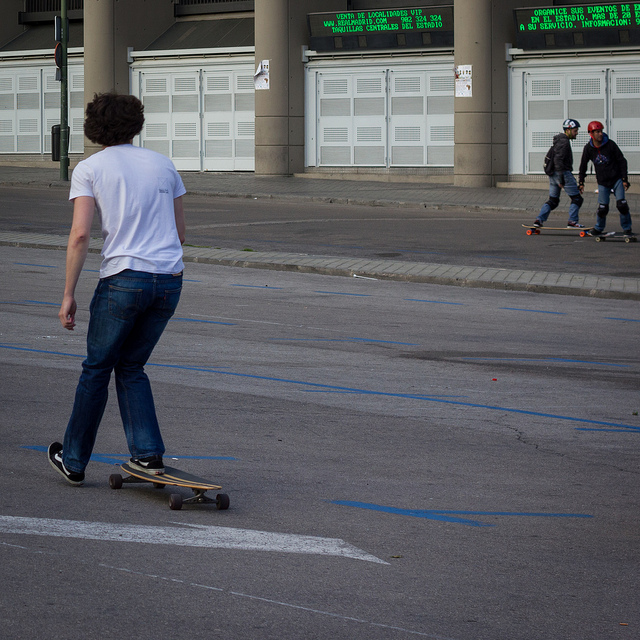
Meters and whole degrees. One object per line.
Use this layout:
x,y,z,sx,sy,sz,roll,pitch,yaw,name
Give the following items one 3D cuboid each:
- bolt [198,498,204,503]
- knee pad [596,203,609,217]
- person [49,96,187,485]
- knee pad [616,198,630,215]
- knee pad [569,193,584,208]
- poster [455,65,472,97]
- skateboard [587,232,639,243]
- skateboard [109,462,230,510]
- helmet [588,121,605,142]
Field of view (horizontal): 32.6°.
-0.549,0.833,5.051,0.026,0.019,0.018,-1,8,-17,bolt
4.891,-1.908,19.008,0.168,0.210,0.227,1,18,0,knee pad
-0.958,-0.104,5.210,0.619,1.895,0.403,0,7,-11,person
5.238,-1.991,19.012,0.239,0.149,0.291,0,30,-8,knee pad
4.749,-2.208,20.110,0.176,0.228,0.235,14,18,43,knee pad
4.003,-6.656,30.497,0.541,0.867,0.143,8,10,40,poster
5.046,-1.389,18.835,0.794,0.136,0.244,1,8,16,skateboard
-0.722,0.774,5.198,0.219,0.106,0.614,-3,6,-39,skateboard
4.751,-3.251,18.908,0.194,0.346,0.357,3,8,11,helmet
